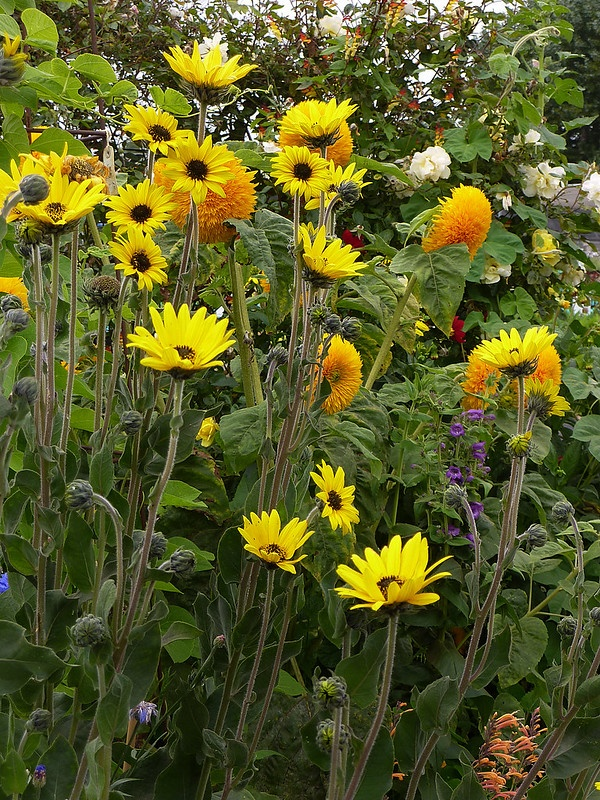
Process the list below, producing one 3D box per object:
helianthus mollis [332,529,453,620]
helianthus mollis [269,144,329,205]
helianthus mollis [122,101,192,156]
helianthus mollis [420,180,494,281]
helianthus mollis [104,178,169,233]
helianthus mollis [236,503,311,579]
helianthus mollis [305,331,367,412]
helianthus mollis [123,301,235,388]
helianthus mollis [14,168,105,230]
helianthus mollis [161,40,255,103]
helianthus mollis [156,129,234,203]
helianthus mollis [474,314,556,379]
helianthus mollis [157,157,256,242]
[{"bbox_3d":[0.069,0.144,0.625,0.087,0.029,0.082,-13,17,-30],"label":"helianthus mollis"},{"bbox_3d":[-0.002,-0.274,1.009,0.096,0.081,0.022,8,-3,-13],"label":"helianthus mollis"},{"bbox_3d":[-0.168,-0.319,0.920,0.064,0.014,0.067,-11,-10,39],"label":"helianthus mollis"},{"bbox_3d":[0.297,-0.327,1.500,0.109,0.117,0.153,32,-18,-31],"label":"helianthus mollis"},{"bbox_3d":[-0.184,-0.221,0.886,0.078,0.018,0.076,-9,-5,-1],"label":"helianthus mollis"},{"bbox_3d":[-0.024,0.129,0.710,0.072,0.029,0.067,19,16,23],"label":"helianthus mollis"},{"bbox_3d":[0.077,-0.048,1.284,0.121,0.111,0.050,29,-9,-41],"label":"helianthus mollis"},{"bbox_3d":[-0.104,-0.047,0.722,0.101,0.045,0.104,-24,-25,31],"label":"helianthus mollis"},{"bbox_3d":[-0.217,-0.182,0.753,0.080,0.071,0.031,-10,-31,2],"label":"helianthus mollis"},{"bbox_3d":[-0.101,-0.358,0.873,0.113,0.044,0.108,2,5,-3],"label":"helianthus mollis"},{"bbox_3d":[-0.111,-0.251,0.862,0.088,0.038,0.088,-21,52,-4],"label":"helianthus mollis"},{"bbox_3d":[0.247,-0.049,0.911,0.093,0.041,0.091,-9,-12,18],"label":"helianthus mollis"},{"bbox_3d":[-0.133,-0.283,1.118,0.163,0.062,0.144,-10,10,1],"label":"helianthus mollis"}]
